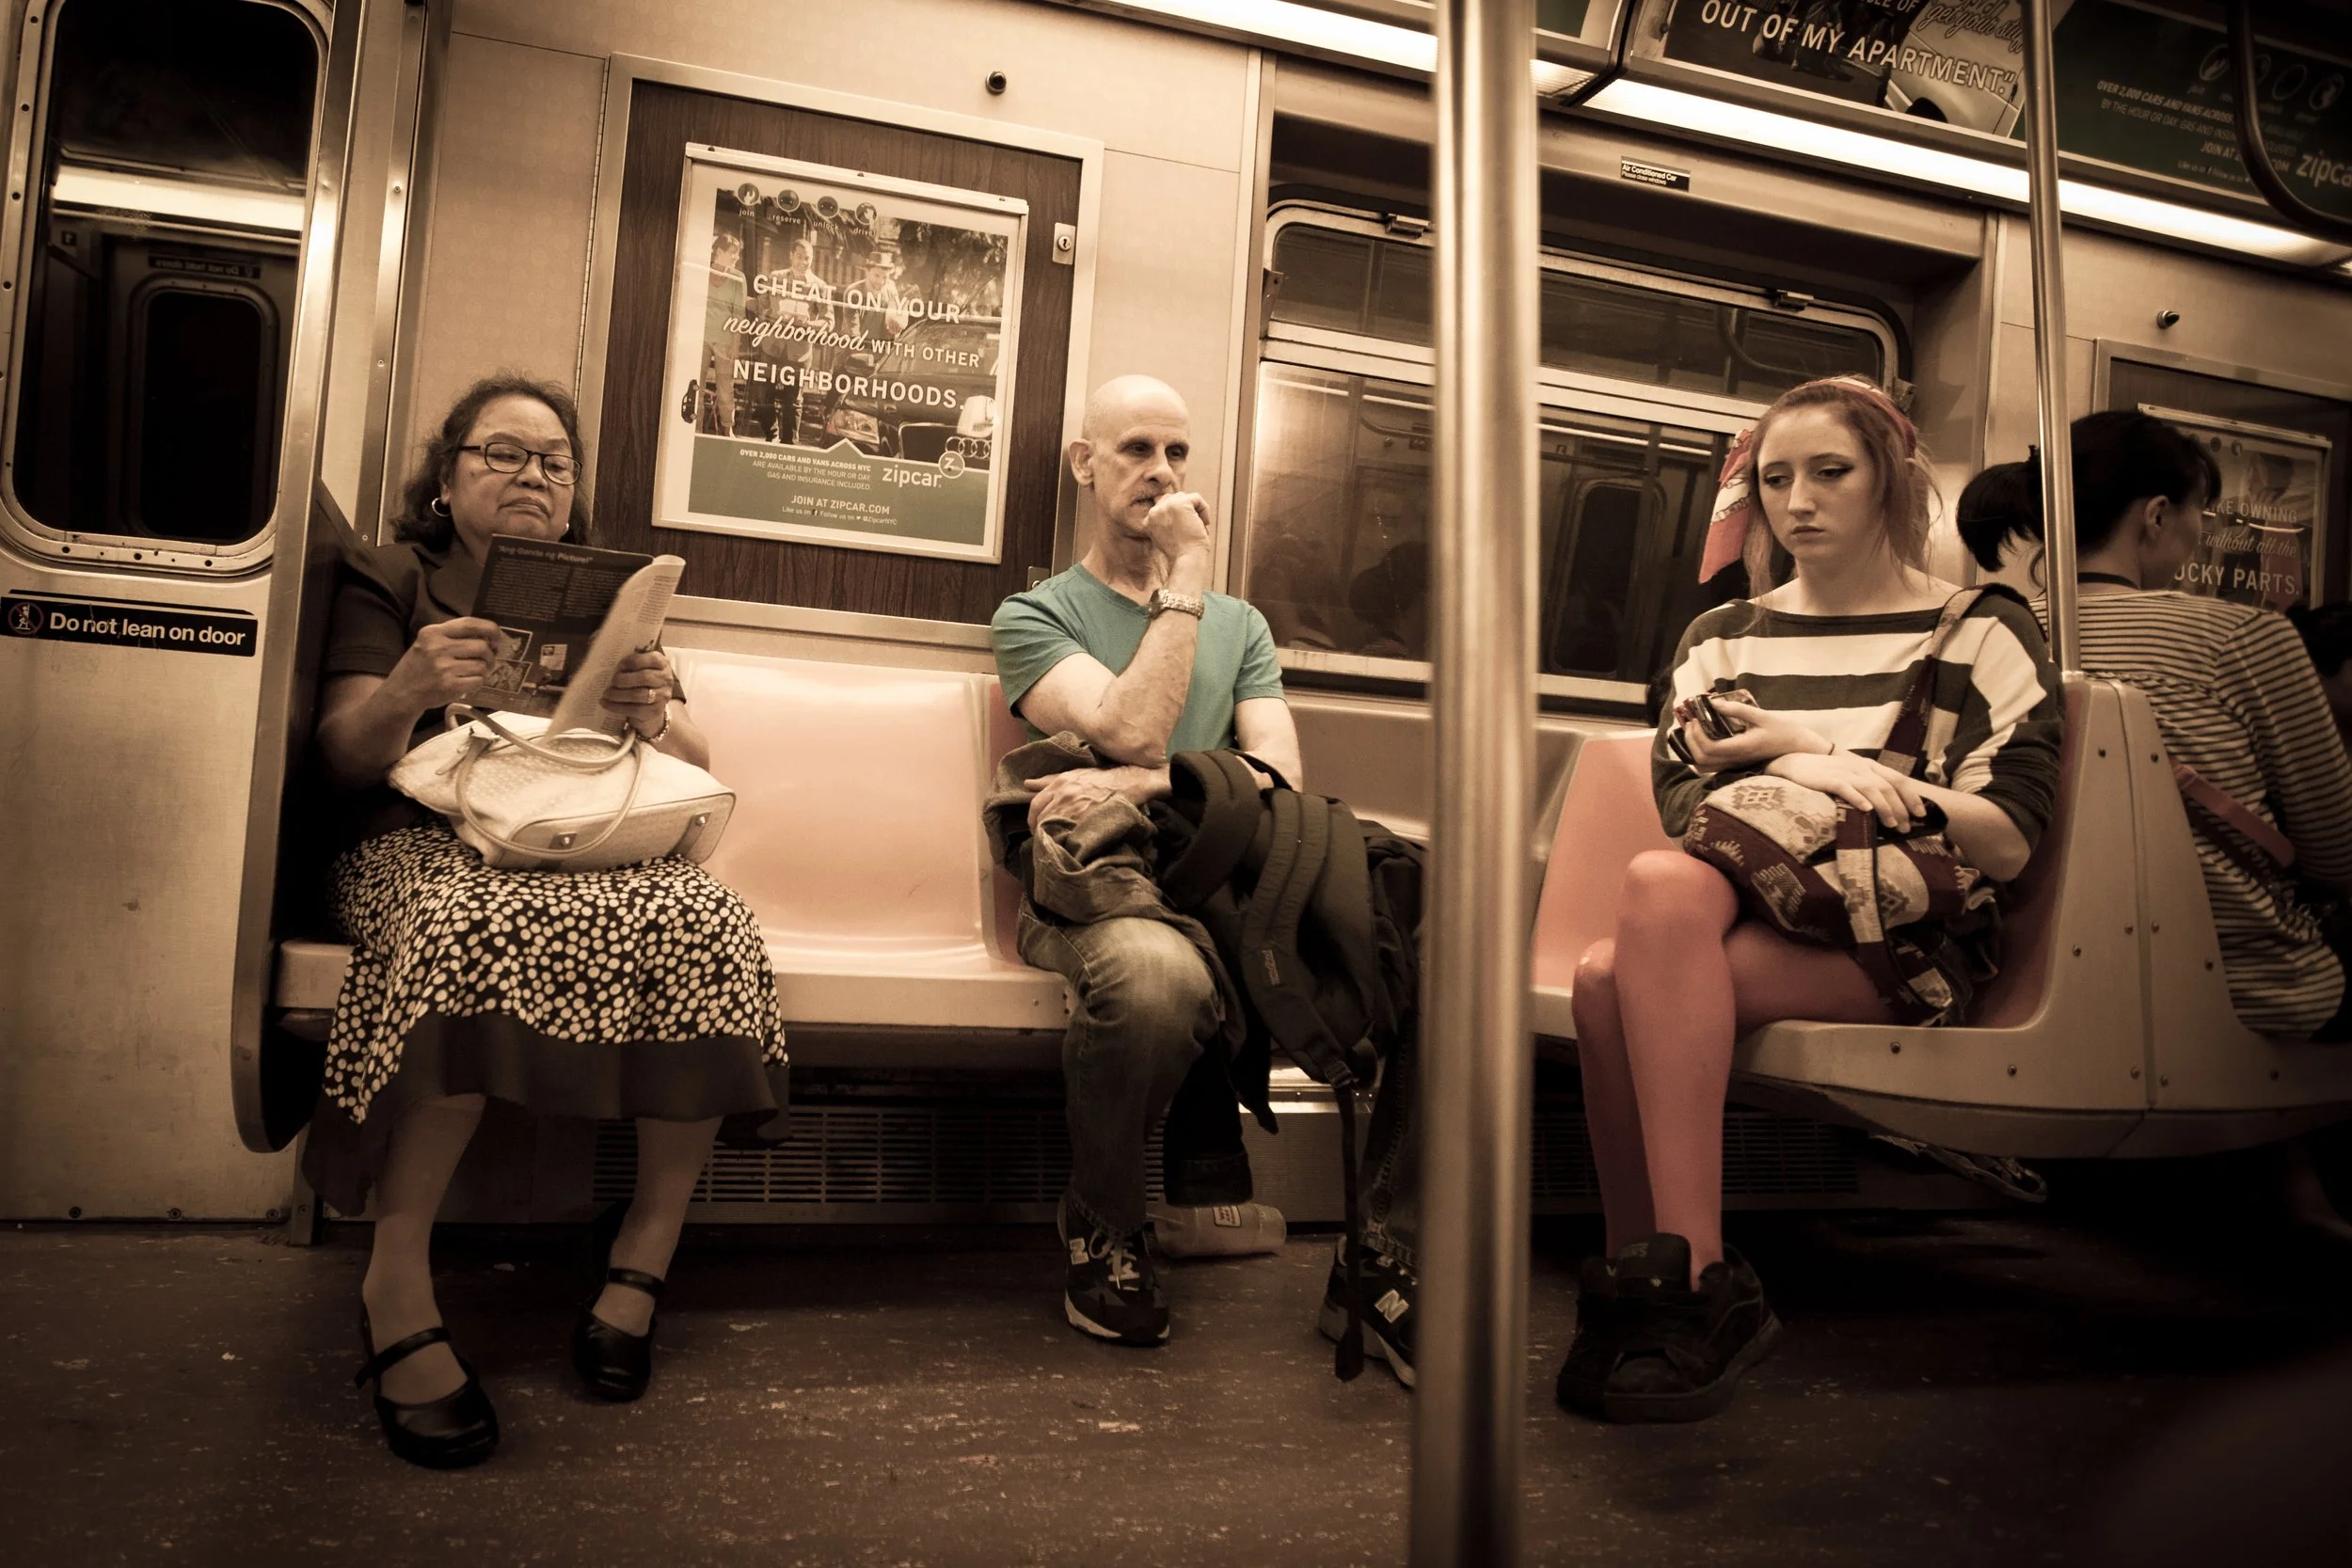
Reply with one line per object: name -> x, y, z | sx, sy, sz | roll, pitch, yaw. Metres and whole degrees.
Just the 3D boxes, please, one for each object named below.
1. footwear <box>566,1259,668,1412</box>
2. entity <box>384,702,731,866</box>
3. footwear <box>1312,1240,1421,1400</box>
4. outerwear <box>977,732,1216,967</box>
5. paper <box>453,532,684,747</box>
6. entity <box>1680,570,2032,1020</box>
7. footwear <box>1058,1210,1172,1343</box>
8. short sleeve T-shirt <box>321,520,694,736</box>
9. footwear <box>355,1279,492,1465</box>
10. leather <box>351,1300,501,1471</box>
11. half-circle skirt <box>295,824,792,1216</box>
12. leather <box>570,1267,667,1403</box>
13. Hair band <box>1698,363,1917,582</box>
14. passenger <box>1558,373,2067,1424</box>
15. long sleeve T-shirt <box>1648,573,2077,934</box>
footwear -> -1.037, 1.018, 3.432 | 0.101, 0.092, 0.290 | 12, 18, -17
entity -> -1.153, 0.009, 3.516 | 0.429, 0.156, 0.370 | 3, 29, -18
footwear -> 0.380, 1.021, 3.707 | 0.168, 0.269, 0.439 | 3, 6, 2
outerwear -> -0.205, 0.165, 4.019 | 0.404, 0.215, 0.506 | -22, 38, -17
paper -> -1.168, -0.307, 3.509 | 0.386, 0.363, 0.151 | -5, 43, -24
entity -> 1.448, 0.022, 3.867 | 0.822, 0.834, 0.350 | 7, -33, 9
footwear -> -0.139, 1.022, 3.896 | 0.187, 0.217, 0.509 | 13, -2, -14
short sleeve T-shirt -> -1.328, -0.259, 3.614 | 0.517, 0.232, 0.515 | 2, -11, -24
footwear -> -1.334, 1.022, 3.246 | 0.129, 0.117, 0.353 | -6, 21, -43
leather -> -1.317, 1.035, 3.242 | 0.127, 0.120, 0.355 | -5, 20, -42
half-circle skirt -> -1.075, 0.450, 3.652 | 0.876, 0.572, 0.745 | 6, -7, -29
leather -> -1.100, 1.054, 3.574 | 0.157, 0.140, 0.449 | 20, 1, -19
Hair band -> 1.397, -0.671, 3.994 | 0.386, 0.448, 0.463 | 0, 8, 43
passenger -> 1.207, 0.165, 3.749 | 1.076, 1.999, 0.612 | 0, 6, -25
long sleeve T-shirt -> 1.384, -0.101, 3.909 | 0.780, 0.661, 0.434 | 2, -4, 27
